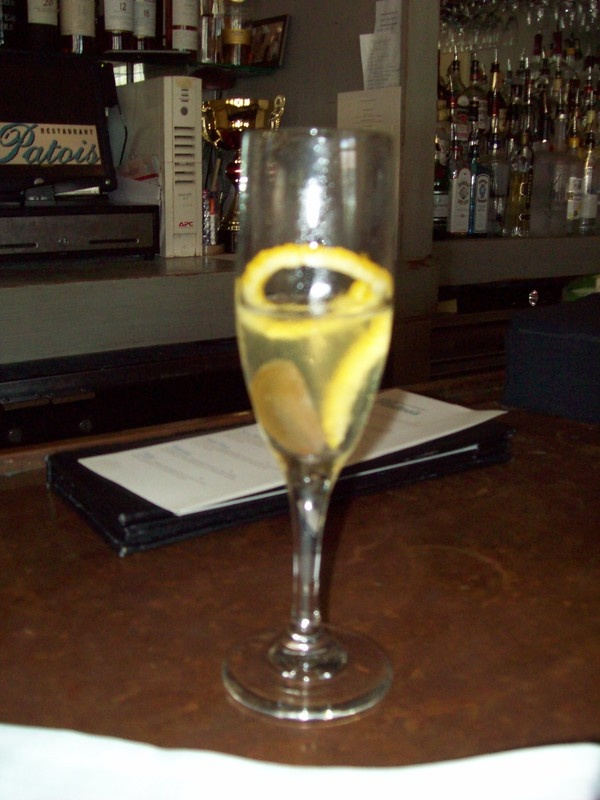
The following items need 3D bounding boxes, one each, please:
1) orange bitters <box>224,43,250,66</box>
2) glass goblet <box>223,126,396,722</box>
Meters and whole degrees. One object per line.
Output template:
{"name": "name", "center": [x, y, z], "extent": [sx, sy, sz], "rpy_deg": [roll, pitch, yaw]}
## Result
{"name": "orange bitters", "center": [-0.191, -1.029, 1.973], "extent": [0.069, 0.050, 0.072], "rpy_deg": [11, 17, 32]}
{"name": "glass goblet", "center": [0.012, 0.010, 0.287], "extent": [0.071, 0.219, 0.126], "rpy_deg": [4, 10, 19]}
